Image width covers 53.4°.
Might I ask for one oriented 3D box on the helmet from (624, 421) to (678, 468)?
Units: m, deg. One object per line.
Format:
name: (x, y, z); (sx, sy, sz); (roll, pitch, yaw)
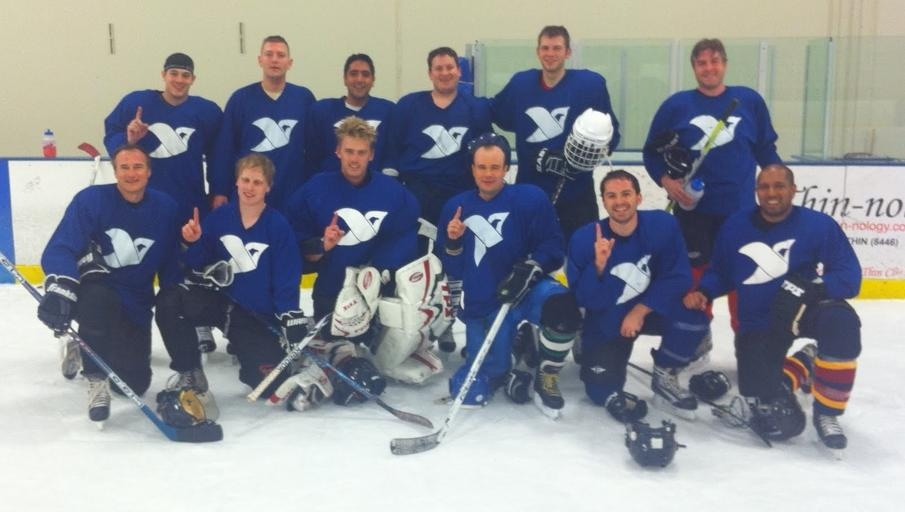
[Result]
helmet: (1.427, 1.341, 6.444); (0.368, 0.304, 0.201); (1, 11, 9)

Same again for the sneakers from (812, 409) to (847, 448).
sneakers: (2.767, 1.269, 6.582); (0.134, 0.140, 0.371); (-16, 17, 8)

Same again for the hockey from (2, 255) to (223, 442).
hockey: (-2.550, 0.736, 6.882); (1.920, 0.275, 0.162); (41, 10, 5)

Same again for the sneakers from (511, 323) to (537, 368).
sneakers: (0.605, 0.727, 7.504); (0.169, 0.384, 0.180); (5, 15, 6)

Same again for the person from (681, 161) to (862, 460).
person: (2.431, 0.350, 6.726); (1.160, 2.026, 0.644); (3, 12, 21)

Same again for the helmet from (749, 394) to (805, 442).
helmet: (2.415, 1.200, 6.691); (0.378, 0.306, 0.250); (2, 11, 14)

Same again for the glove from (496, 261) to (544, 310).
glove: (0.503, 0.202, 6.838); (0.371, 0.225, 0.141); (-41, 10, -9)

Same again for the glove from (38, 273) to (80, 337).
glove: (-2.879, 0.349, 6.573); (0.352, 0.400, 0.194); (7, 11, -7)

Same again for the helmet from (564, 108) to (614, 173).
helmet: (1.116, -0.963, 7.305); (0.375, 0.417, 0.445); (15, 30, -1)

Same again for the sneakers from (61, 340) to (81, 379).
sneakers: (-3.032, 0.814, 7.210); (0.140, 0.359, 0.162); (4, -4, -21)

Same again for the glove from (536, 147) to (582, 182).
glove: (0.861, -0.746, 7.419); (0.364, 0.150, 0.206); (9, -24, 29)

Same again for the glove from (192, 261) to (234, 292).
glove: (-1.847, 0.147, 6.938); (0.297, 0.201, 0.133); (1, 2, -21)

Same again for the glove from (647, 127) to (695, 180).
glove: (1.806, -0.834, 7.449); (0.302, 0.420, 0.190); (-14, 36, 44)
